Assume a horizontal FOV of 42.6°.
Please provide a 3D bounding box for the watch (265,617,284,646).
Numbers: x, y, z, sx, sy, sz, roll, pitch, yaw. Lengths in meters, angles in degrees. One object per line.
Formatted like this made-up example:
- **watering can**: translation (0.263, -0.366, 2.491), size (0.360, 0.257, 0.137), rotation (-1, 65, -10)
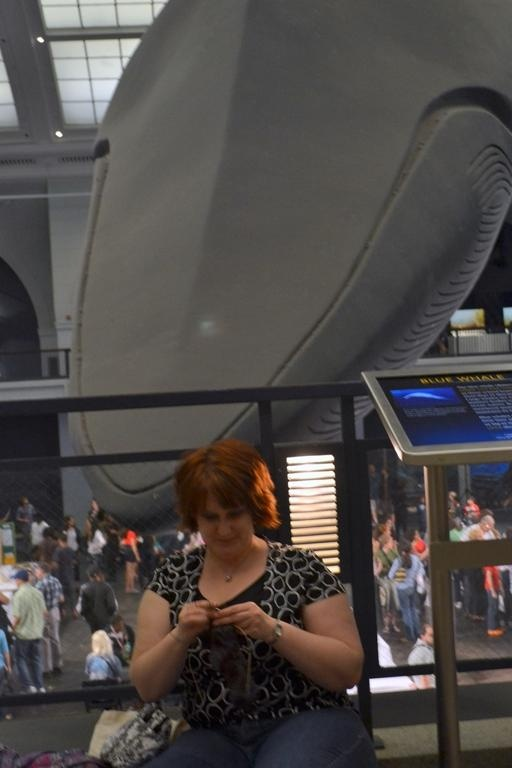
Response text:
- **watch**: translation (0.040, 0.477, 1.270), size (0.030, 0.048, 0.044), rotation (19, -44, -17)

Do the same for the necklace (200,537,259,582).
- **necklace**: translation (-0.057, 0.383, 1.442), size (0.088, 0.113, 0.133), rotation (0, -2, 0)

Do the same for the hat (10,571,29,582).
- **hat**: translation (-0.768, 0.615, 2.127), size (0.048, 0.046, 0.034), rotation (-7, 1, 26)
